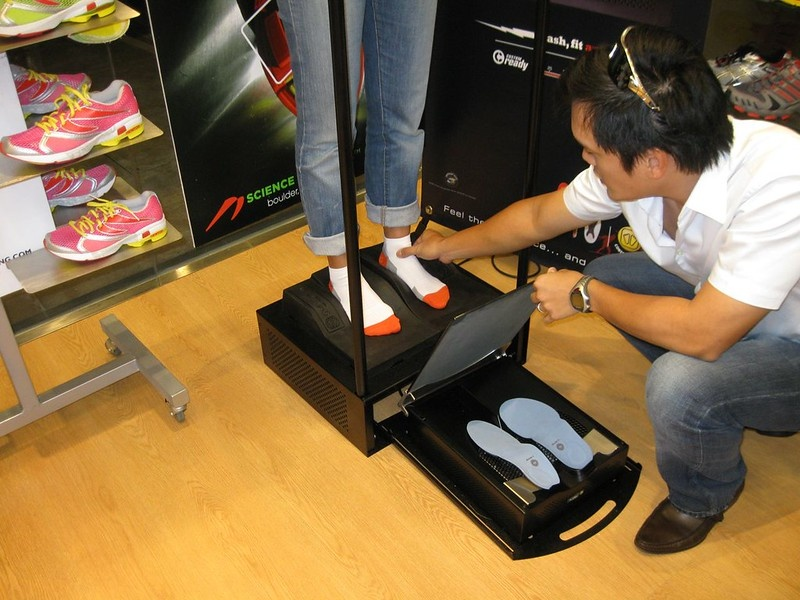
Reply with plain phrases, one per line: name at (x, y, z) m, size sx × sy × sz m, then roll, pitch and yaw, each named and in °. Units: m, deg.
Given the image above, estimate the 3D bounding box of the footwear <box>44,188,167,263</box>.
footwear at (-0.795, -0.192, 1.731) m, size 0.353 × 0.155 × 0.154 m, roll -22°, pitch 55°, yaw -24°

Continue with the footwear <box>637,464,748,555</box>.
footwear at (0.745, 0.554, 1.578) m, size 0.295 × 0.108 × 0.113 m, roll -39°, pitch 63°, yaw 3°

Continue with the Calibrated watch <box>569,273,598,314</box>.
Calibrated watch at (0.490, -0.014, 1.567) m, size 0.094 × 0.097 × 0.059 m, roll -20°, pitch 19°, yaw -37°

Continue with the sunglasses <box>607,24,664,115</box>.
sunglasses at (0.457, -0.453, 1.206) m, size 0.041 × 0.136 × 0.136 m, roll -33°, pitch 60°, yaw 5°

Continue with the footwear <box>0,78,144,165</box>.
footwear at (-0.848, -0.463, 1.556) m, size 0.222 × 0.125 × 0.379 m, roll 31°, pitch 51°, yaw 30°
